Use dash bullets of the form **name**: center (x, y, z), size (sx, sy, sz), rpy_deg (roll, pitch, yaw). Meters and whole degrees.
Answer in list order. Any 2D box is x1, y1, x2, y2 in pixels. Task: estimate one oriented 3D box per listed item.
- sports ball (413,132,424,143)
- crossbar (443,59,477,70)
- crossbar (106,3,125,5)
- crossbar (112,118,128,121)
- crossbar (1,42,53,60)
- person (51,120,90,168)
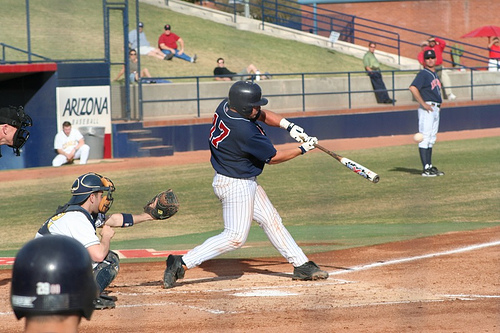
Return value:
- **sports ball**: center (4.753, -0.816, 30.168), size (0.261, 0.285, 0.343), rpy_deg (0, 6, 5)
- **crossbar**: center (9.095, -4.281, 46.273), size (1.047, 0.383, 3.760), rpy_deg (1, 6, 12)
- **crossbar**: center (-4.455, -5.391, 36.390), size (0.492, 0.052, 0.349), rpy_deg (-4, 7, -37)
- **crossbar**: center (-4.314, -1.609, 36.491), size (0.513, 0.066, 0.721), rpy_deg (-1, 5, -8)
- **crossbar**: center (-7.210, -3.675, 34.928), size (1.692, 0.071, 0.102), rpy_deg (19, -11, -5)
- **person**: center (-5.708, -0.736, 34.195), size (1.097, 1.429, 1.228), rpy_deg (2, -2, -22)
